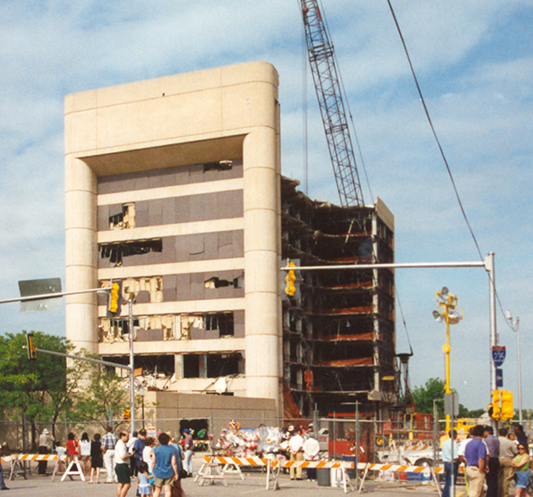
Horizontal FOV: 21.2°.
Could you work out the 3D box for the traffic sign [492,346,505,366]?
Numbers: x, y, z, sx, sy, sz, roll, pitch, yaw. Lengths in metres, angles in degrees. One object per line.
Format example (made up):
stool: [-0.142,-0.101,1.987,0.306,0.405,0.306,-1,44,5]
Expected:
traffic sign: [10.917,4.979,66.652,0.612,0.820,1.254,-6,-14,9]

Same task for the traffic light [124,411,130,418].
traffic light: [-8.626,9.948,85.697,0.408,0.571,0.585,0,-6,-5]
